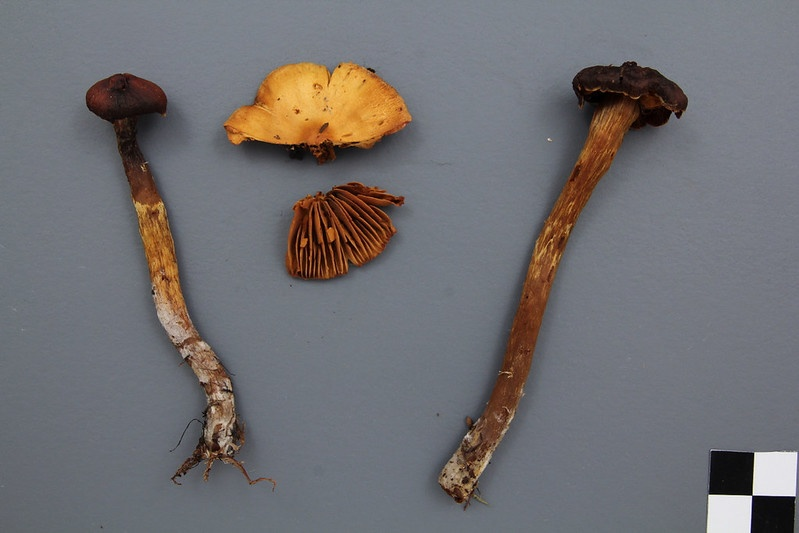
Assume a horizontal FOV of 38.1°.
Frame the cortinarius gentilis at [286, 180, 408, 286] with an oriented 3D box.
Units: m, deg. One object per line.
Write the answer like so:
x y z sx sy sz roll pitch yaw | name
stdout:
-0.271 -0.144 5.179 0.513 0.433 0.206 -3 -39 12 | cortinarius gentilis
